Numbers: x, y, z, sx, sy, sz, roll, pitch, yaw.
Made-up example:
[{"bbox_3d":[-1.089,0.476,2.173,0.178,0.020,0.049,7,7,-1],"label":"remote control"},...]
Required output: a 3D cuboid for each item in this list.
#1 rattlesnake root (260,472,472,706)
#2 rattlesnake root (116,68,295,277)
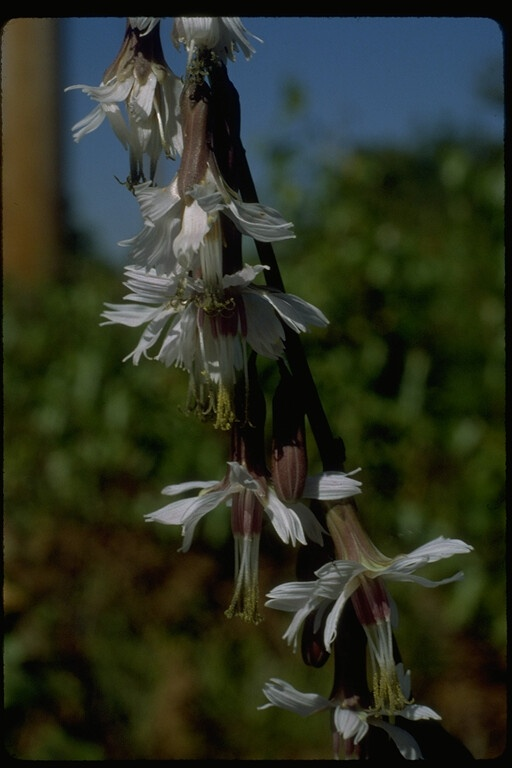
[{"bbox_3d":[0.178,0.349,1.543,0.324,0.413,0.139,-6,17,0],"label":"rattlesnake root"},{"bbox_3d":[-0.096,-0.310,1.478,0.176,0.288,0.219,-20,22,-41],"label":"rattlesnake root"}]
